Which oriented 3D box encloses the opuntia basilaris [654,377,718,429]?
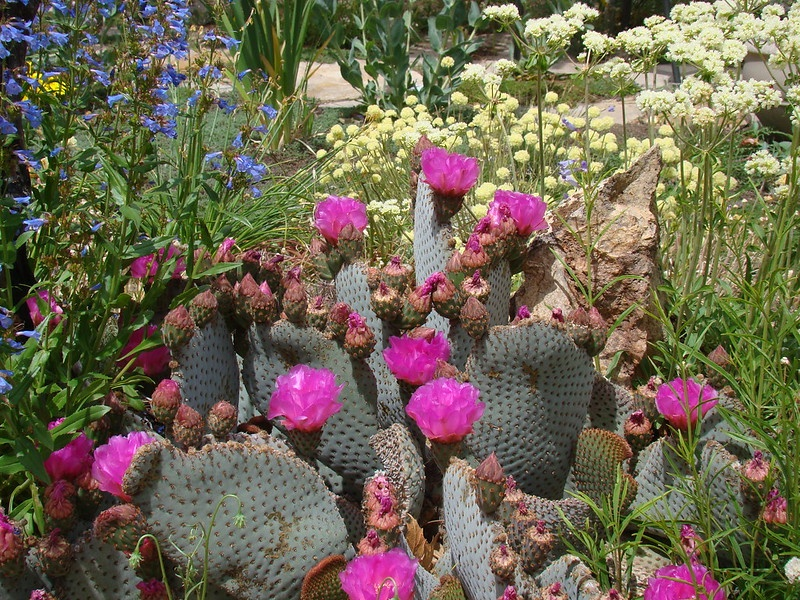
[{"bbox_3d":[0.776,0.277,2.164,0.129,0.144,0.141,-11,-1,40],"label":"opuntia basilaris"}]
